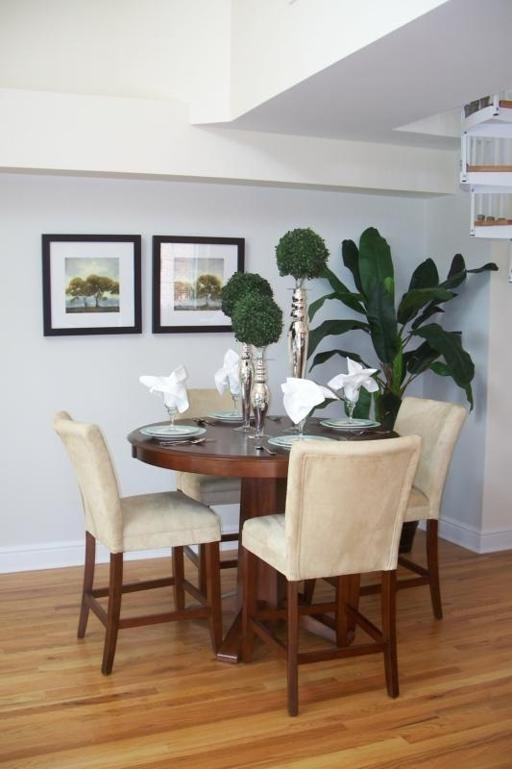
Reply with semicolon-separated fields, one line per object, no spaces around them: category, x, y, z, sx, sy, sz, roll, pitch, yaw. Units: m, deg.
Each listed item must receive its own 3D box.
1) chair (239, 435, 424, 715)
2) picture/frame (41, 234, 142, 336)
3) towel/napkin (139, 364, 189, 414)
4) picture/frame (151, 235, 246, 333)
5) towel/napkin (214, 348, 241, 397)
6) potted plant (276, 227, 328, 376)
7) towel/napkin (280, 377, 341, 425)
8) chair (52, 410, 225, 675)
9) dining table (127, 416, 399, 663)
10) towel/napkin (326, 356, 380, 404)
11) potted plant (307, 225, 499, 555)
chair;0.223;0.570;2.081;0.487;0.870;0.540;-2;4;-32
picture/frame;-0.901;-0.552;3.338;0.531;0.551;0.023;-4;9;-26
towel/napkin;-0.330;0.009;2.528;0.170;0.066;0.200;-10;-33;7
picture/frame;-0.345;-0.562;3.429;0.669;0.693;0.033;-2;6;-27
towel/napkin;-0.105;-0.055;2.858;0.061;0.194;0.184;7;7;20
potted plant;0.187;-0.352;2.593;0.208;0.646;0.261;1;1;4
towel/napkin;0.174;0.059;2.199;0.149;0.162;0.095;1;1;24
chair;-0.435;0.555;2.354;0.537;0.868;0.404;-1;2;-31
dining table;-0.044;0.477;2.481;0.898;0.685;0.887;-1;3;-7
towel/napkin;0.401;-0.010;2.684;0.205;0.220;0.211;-6;11;-32
potted plant;0.873;-0.021;3.752;1.048;1.697;0.936;1;10;10
